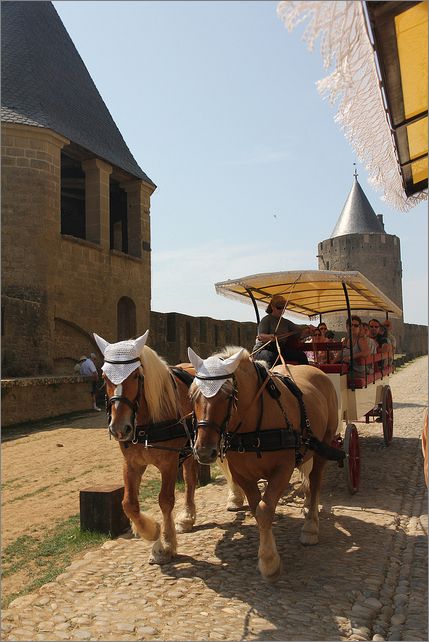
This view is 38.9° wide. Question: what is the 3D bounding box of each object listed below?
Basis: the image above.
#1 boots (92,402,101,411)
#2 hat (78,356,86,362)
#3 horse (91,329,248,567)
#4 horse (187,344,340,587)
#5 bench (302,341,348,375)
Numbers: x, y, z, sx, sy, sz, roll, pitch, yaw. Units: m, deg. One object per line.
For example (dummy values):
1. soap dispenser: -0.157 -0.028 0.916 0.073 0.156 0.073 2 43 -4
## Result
1. boots: -3.037 2.221 15.774 0.273 0.220 0.122 -3 5 -44
2. hat: -3.808 1.054 17.500 0.261 0.176 0.353 -1 -10 -9
3. horse: -0.370 1.171 5.485 0.614 1.708 2.444 -5 -11 17
4. horse: 0.491 1.116 5.005 0.816 1.612 2.686 -7 -11 23
5. bench: 1.652 0.520 8.848 0.459 0.294 0.441 0 3 5
